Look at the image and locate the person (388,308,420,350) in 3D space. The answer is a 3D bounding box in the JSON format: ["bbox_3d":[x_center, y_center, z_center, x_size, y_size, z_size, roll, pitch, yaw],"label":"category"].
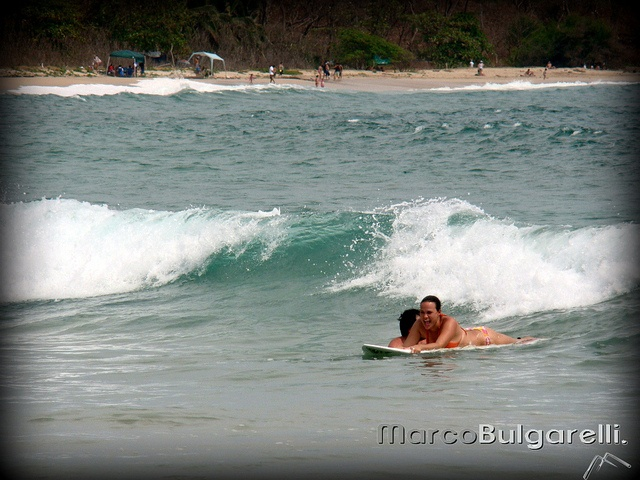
[{"bbox_3d":[1.766,1.877,20.985,0.725,0.741,0.423,-7,5,-29],"label":"person"}]

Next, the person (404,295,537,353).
[{"bbox_3d":[2.713,1.778,20.529,2.028,1.158,0.827,-7,47,1],"label":"person"}]

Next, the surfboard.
[{"bbox_3d":[2.895,2.258,20.580,3.546,0.274,0.454,0,6,4],"label":"surfboard"}]
